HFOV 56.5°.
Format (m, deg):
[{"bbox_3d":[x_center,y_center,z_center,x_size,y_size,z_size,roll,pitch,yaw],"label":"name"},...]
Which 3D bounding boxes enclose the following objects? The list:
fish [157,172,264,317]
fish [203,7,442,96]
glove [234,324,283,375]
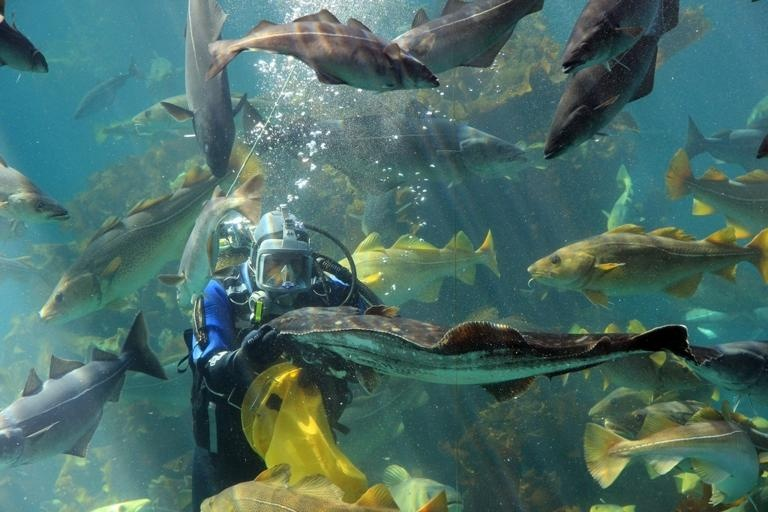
[{"bbox_3d":[-3.405,-0.371,14.124,1.466,1.421,3.053,38,108,44],"label":"fish"},{"bbox_3d":[-0.800,-3.423,12.080,2.133,2.178,0.960,20,101,60],"label":"fish"},{"bbox_3d":[-2.237,1.638,12.616,0.891,0.292,0.663,-48,28,2],"label":"glove"}]
